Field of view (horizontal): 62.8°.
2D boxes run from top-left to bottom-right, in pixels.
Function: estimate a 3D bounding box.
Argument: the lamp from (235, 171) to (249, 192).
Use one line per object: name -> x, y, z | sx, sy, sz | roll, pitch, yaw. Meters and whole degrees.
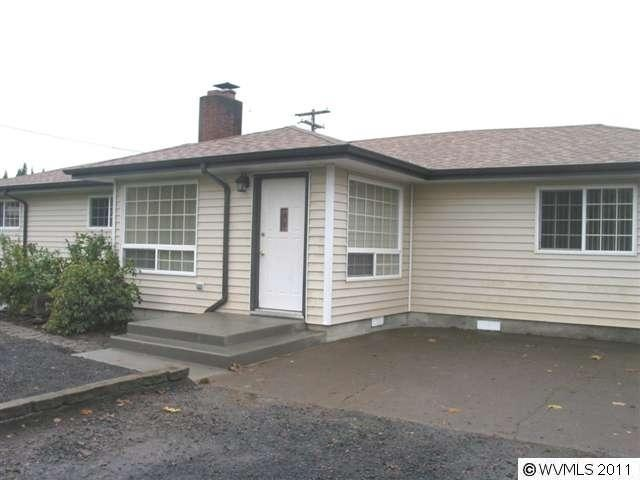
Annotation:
lamp -> -1.631, -1.178, 10.778 | 0.334, 0.397, 0.188 | 7, 8, 42
